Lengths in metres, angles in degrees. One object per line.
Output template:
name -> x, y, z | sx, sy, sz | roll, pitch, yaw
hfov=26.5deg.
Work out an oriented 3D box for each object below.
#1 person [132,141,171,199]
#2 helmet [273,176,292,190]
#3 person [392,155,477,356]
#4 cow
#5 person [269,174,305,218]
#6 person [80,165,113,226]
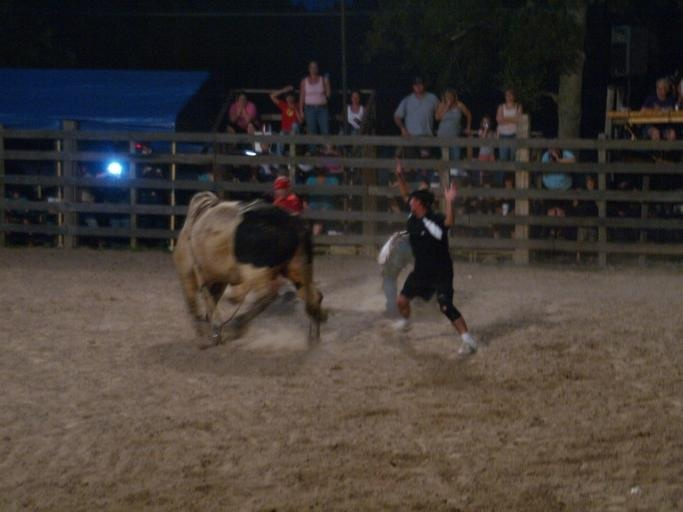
person -> -3.758, -1.640, 28.659 | 0.665, 1.234, 1.148 | -1, 7, -7
helmet -> -0.993, -1.197, 23.637 | 0.249, 0.255, 0.198 | 15, 18, 32
person -> 1.438, 0.112, 22.948 | 1.089, 2.637, 1.535 | -1, 7, -10
cow -> -1.545, 0.263, 22.349 | 2.198, 2.367, 1.027 | 5, 9, 34
person -> -0.850, -0.968, 23.119 | 0.551, 1.076, 0.621 | -2, 6, -7
person -> -4.701, -1.182, 28.914 | 0.644, 1.150, 1.075 | 2, -2, -22
